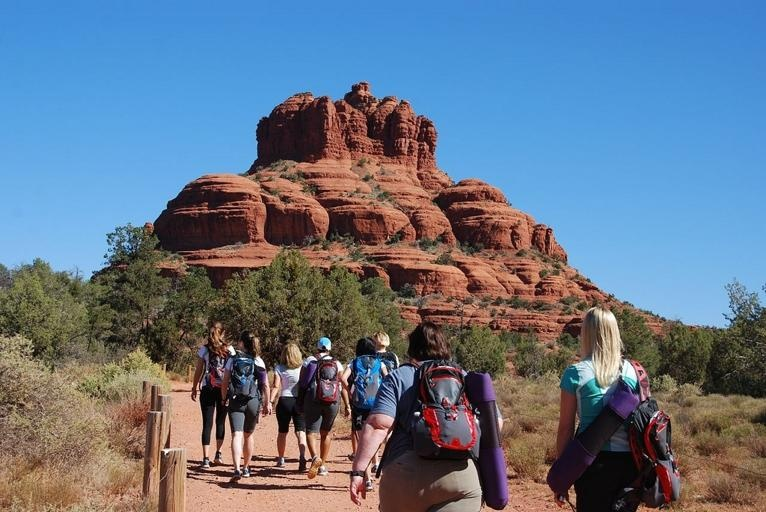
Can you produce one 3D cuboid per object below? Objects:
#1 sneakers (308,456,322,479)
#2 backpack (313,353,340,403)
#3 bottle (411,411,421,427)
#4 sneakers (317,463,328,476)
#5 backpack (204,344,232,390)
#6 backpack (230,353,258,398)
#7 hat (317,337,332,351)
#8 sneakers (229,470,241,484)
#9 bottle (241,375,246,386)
[{"bbox_3d":[-1.402,4.336,15.725,0.162,0.529,0.216,15,11,-11],"label":"sneakers"},{"bbox_3d":[-1.148,2.539,15.481,0.436,0.879,0.438,7,-13,-22],"label":"backpack"},{"bbox_3d":[0.475,2.361,11.129,0.164,0.183,0.074,-4,-15,37],"label":"bottle"},{"bbox_3d":[-1.271,4.573,16.385,0.103,0.160,0.343,-1,-13,9],"label":"sneakers"},{"bbox_3d":[-3.421,2.392,15.751,0.551,0.878,0.417,13,-25,-12],"label":"backpack"},{"bbox_3d":[-2.831,2.393,15.458,0.544,0.933,0.473,-1,7,-10],"label":"backpack"},{"bbox_3d":[-1.213,1.792,15.707,0.404,0.310,0.676,4,-5,-4],"label":"hat"},{"bbox_3d":[-3.003,4.459,15.569,0.203,0.261,0.310,3,-12,-7],"label":"sneakers"},{"bbox_3d":[-2.787,2.458,15.255,0.140,0.192,0.030,7,-12,-27],"label":"bottle"}]
